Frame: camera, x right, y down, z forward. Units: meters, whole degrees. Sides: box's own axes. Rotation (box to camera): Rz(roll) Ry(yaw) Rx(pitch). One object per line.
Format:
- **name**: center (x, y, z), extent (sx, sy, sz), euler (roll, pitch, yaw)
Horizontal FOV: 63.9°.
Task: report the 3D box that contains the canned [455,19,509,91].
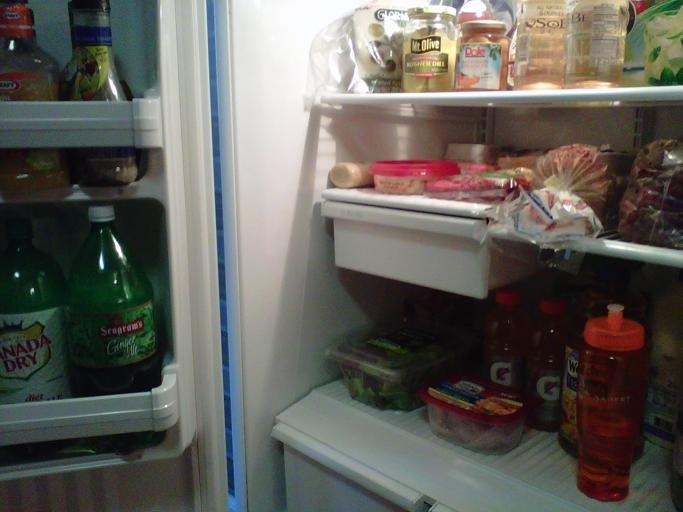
- **canned**: center (0.298, -0.423, 1.163), extent (0.107, 0.141, 0.097), euler (2, 18, 19)
